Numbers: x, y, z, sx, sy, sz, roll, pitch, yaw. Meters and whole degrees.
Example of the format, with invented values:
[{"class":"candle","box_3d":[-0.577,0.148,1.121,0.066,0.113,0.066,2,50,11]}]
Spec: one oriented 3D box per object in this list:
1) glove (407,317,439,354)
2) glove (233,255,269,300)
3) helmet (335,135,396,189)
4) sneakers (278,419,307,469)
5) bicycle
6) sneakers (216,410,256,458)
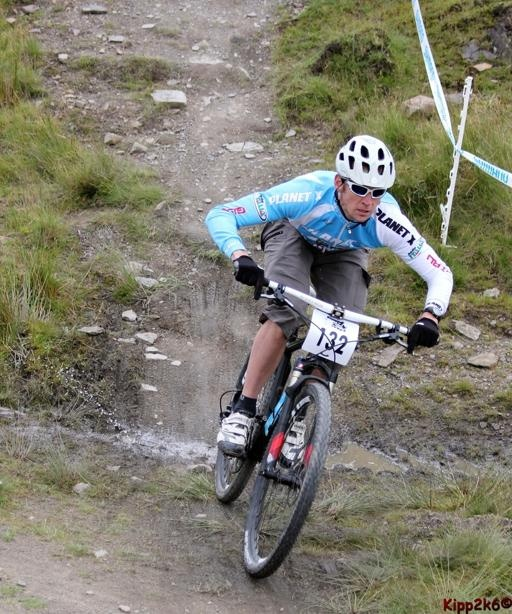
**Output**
[{"class":"glove","box_3d":[1.010,0.178,5.324,0.180,0.225,0.325,9,17,10]},{"class":"glove","box_3d":[0.010,-0.162,5.182,0.114,0.247,0.202,-25,31,-22]},{"class":"helmet","box_3d":[0.687,-0.930,5.409,0.360,0.236,0.449,1,25,-10]},{"class":"sneakers","box_3d":[0.212,0.801,5.168,0.159,0.095,0.265,17,49,-7]},{"class":"bicycle","box_3d":[0.245,0.690,5.355,0.852,1.836,1.437,2,18,-11]},{"class":"sneakers","box_3d":[-0.134,0.797,5.565,0.203,0.118,0.295,10,61,6]}]
